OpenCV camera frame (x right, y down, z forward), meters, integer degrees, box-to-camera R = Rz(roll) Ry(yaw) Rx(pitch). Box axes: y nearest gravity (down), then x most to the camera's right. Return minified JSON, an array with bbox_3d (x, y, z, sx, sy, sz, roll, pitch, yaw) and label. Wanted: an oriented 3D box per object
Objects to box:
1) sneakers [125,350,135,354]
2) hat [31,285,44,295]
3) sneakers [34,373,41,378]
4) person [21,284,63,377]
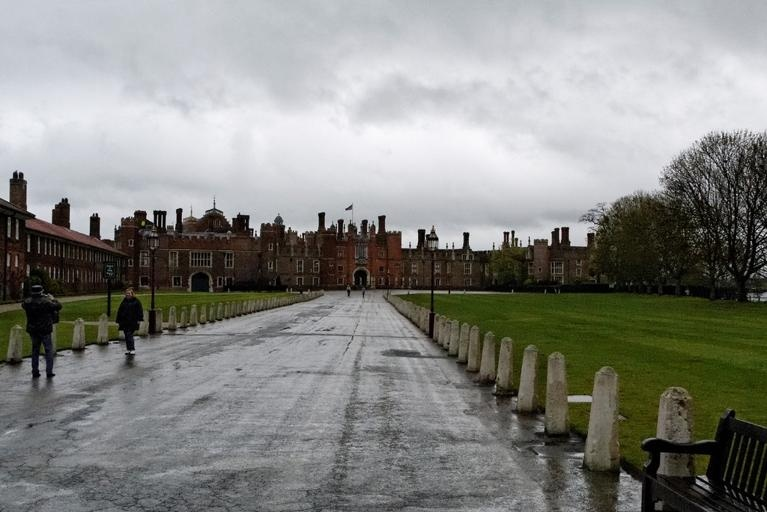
[{"bbox_3d":[-8.494,3.253,24.087,0.165,0.108,0.319,1,-11,-9],"label":"sneakers"},{"bbox_3d":[-9.681,0.944,20.056,0.264,0.245,0.277,-2,6,-7],"label":"hat"},{"bbox_3d":[-9.566,3.281,19.777,0.160,0.101,0.285,-3,5,-29],"label":"sneakers"},{"bbox_3d":[-9.487,2.087,19.951,0.876,2.483,0.917,-2,4,-24],"label":"person"}]
